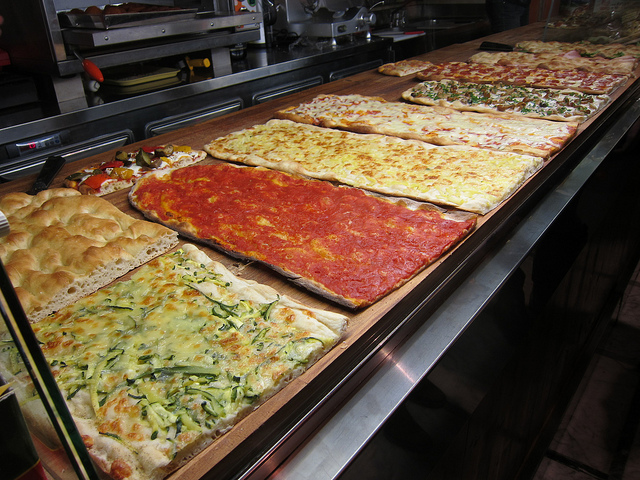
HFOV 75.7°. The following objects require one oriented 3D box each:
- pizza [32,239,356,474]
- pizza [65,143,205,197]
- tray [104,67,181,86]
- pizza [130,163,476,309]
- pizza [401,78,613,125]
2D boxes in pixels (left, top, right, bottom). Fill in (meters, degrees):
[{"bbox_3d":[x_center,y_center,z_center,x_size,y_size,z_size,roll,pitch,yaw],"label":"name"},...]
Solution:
[{"bbox_3d":[-0.347,0.227,0.906,0.578,0.097,0.518,18,32,32],"label":"pizza"},{"bbox_3d":[-0.758,-0.301,1.727,0.486,0.061,0.263,-22,34,-37],"label":"pizza"},{"bbox_3d":[-1.310,-1.222,3.076,0.229,0.090,0.476,20,33,33],"label":"tray"},{"bbox_3d":[-0.144,-0.050,1.320,1.005,0.079,0.519,12,26,27],"label":"pizza"},{"bbox_3d":[1.044,-0.815,2.429,1.051,0.087,0.484,9,31,24],"label":"pizza"}]
